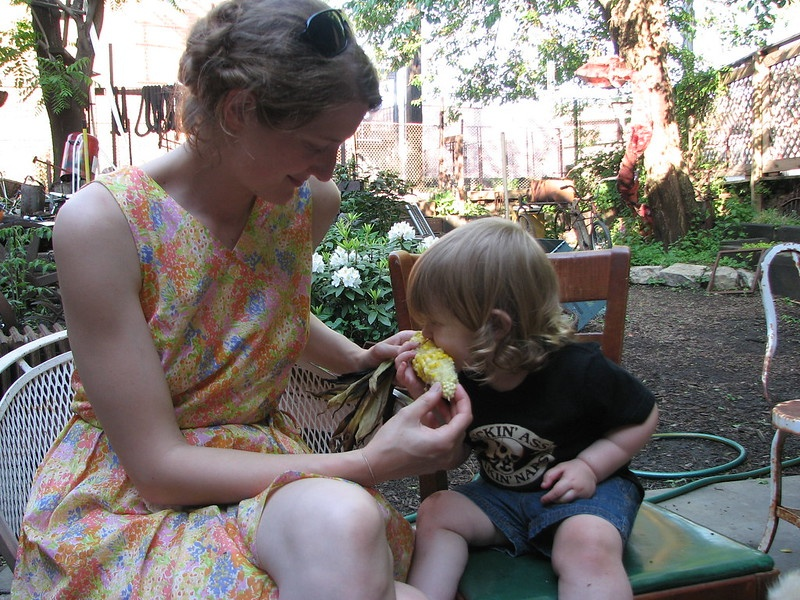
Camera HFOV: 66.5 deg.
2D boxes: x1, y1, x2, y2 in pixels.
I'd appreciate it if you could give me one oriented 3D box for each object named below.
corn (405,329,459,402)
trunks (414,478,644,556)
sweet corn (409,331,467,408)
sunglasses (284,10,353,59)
[{"bbox_3d":[0.099,0.199,1.831,0.102,0.062,0.185,-9,39,-34],"label":"corn"},{"bbox_3d":[0.406,0.615,1.765,0.398,0.228,0.133,2,-18,29],"label":"trunks"},{"bbox_3d":[0.101,0.192,1.821,0.105,0.061,0.181,32,5,-41],"label":"sweet corn"},{"bbox_3d":[-0.204,-0.664,1.524,0.123,0.056,0.123,-5,31,25],"label":"sunglasses"}]
